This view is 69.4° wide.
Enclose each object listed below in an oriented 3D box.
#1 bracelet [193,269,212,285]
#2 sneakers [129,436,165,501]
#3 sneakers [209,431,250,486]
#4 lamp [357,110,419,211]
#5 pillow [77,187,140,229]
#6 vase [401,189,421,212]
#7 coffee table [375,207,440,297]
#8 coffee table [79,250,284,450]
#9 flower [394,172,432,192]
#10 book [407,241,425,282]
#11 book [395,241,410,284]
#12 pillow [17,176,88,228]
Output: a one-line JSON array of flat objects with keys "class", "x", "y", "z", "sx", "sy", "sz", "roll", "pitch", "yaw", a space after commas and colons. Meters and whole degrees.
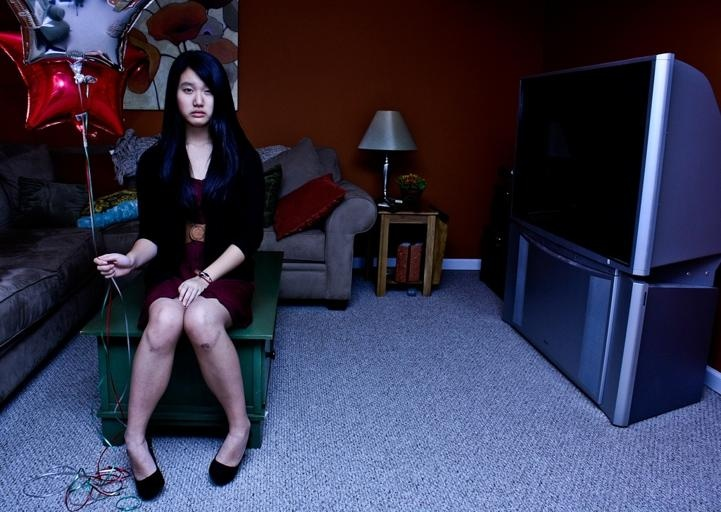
[{"class": "bracelet", "x": -0.662, "y": 0.078, "z": 2.191, "sx": 0.056, "sy": 0.030, "sz": 0.078, "roll": 27, "pitch": 10, "yaw": -45}, {"class": "sneakers", "x": -0.819, "y": 0.841, "z": 2.013, "sx": 0.108, "sy": 0.169, "sz": 0.119, "roll": -8, "pitch": 17, "yaw": -27}, {"class": "sneakers", "x": -0.522, "y": 0.793, "z": 2.085, "sx": 0.081, "sy": 0.220, "sz": 0.055, "roll": 18, "pitch": -1, "yaw": 9}, {"class": "lamp", "x": 0.209, "y": -0.741, "z": 4.083, "sx": 0.444, "sy": 0.742, "sz": 0.455, "roll": -4, "pitch": 12, "yaw": -24}, {"class": "pillow", "x": -1.666, "y": -0.311, "z": 3.505, "sx": 0.469, "sy": 0.153, "sz": 0.485, "roll": -21, "pitch": 20, "yaw": -14}, {"class": "vase", "x": 0.387, "y": -0.415, "z": 3.930, "sx": 0.136, "sy": 0.131, "sz": 0.155, "roll": 7, "pitch": 11, "yaw": 36}, {"class": "coffee table", "x": 0.324, "y": -0.101, "z": 4.050, "sx": 0.558, "sy": 0.803, "sz": 0.518, "roll": 1, "pitch": 15, "yaw": 1}, {"class": "coffee table", "x": -0.798, "y": 0.391, "z": 2.528, "sx": 0.558, "sy": 0.436, "sz": 0.911, "roll": 1, "pitch": 15, "yaw": -3}, {"class": "flower", "x": 0.378, "y": -0.544, "z": 3.904, "sx": 0.197, "sy": 0.115, "sz": 0.112, "roll": 0, "pitch": 15, "yaw": 0}, {"class": "book", "x": 0.407, "y": 0.047, "z": 3.851, "sx": 0.084, "sy": 0.247, "sz": 0.243, "roll": 6, "pitch": 7, "yaw": 0}, {"class": "book", "x": 0.315, "y": 0.056, "z": 3.866, "sx": 0.087, "sy": 0.255, "sz": 0.254, "roll": 3, "pitch": 16, "yaw": -1}, {"class": "pillow", "x": -2.037, "y": -0.352, "z": 3.447, "sx": 0.370, "sy": 0.373, "sz": 0.114, "roll": 3, "pitch": -10, "yaw": -16}]
